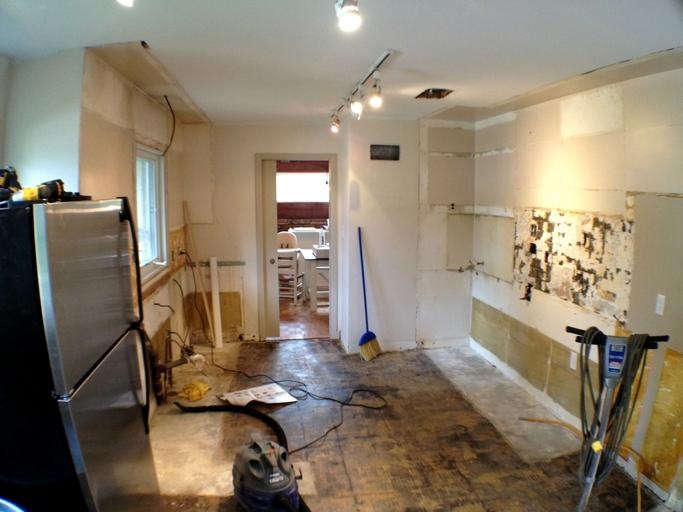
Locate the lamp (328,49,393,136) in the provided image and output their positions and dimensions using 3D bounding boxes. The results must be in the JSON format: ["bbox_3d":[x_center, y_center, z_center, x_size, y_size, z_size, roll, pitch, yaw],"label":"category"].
[{"bbox_3d":[0.197,-1.320,3.983,0.196,0.276,1.005,1,-6,-16],"label":"lamp"}]

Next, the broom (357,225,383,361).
[{"bbox_3d":[0.302,0.403,5.205,0.268,1.390,0.385,0,14,1],"label":"broom"}]

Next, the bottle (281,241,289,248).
[{"bbox_3d":[-0.920,-0.169,7.871,0.126,0.097,0.072,0,-2,5],"label":"bottle"}]

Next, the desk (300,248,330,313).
[{"bbox_3d":[-0.387,0.334,7.387,0.659,0.928,1.336,1,3,-6],"label":"desk"}]

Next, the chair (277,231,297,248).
[{"bbox_3d":[-0.875,-0.255,7.844,0.250,0.361,0.302,1,-1,-6],"label":"chair"}]

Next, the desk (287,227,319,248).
[{"bbox_3d":[-0.678,-0.353,9.099,0.488,0.511,0.371,0,7,-7],"label":"desk"}]
